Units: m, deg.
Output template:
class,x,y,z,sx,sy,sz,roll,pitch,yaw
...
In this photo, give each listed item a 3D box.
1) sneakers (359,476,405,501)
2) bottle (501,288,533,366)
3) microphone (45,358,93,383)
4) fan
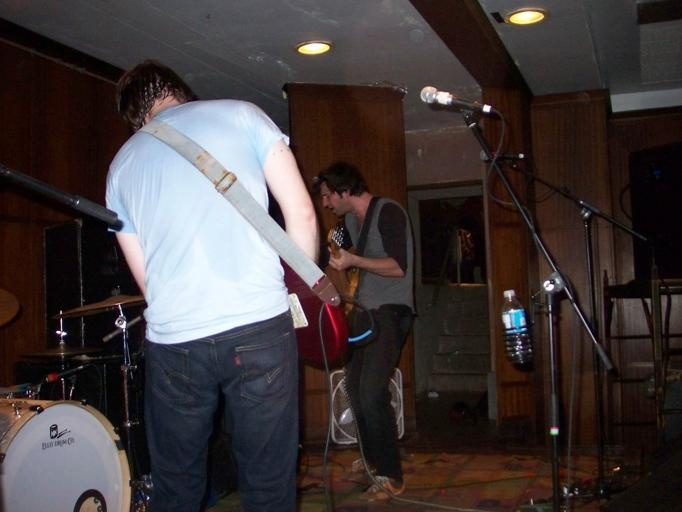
class,x,y,z,sx,sy,sz,roll,pitch,yaw
sneakers,0.233,1.353,3.553,0.251,0.120,0.092,6,-30,-13
bottle,0.849,0.352,2.931,0.136,0.369,0.253,1,-4,16
microphone,-1.613,0.704,3.590,0.226,0.129,0.491,4,-4,-21
fan,0.171,1.034,4.450,0.544,0.641,0.224,-1,17,0
